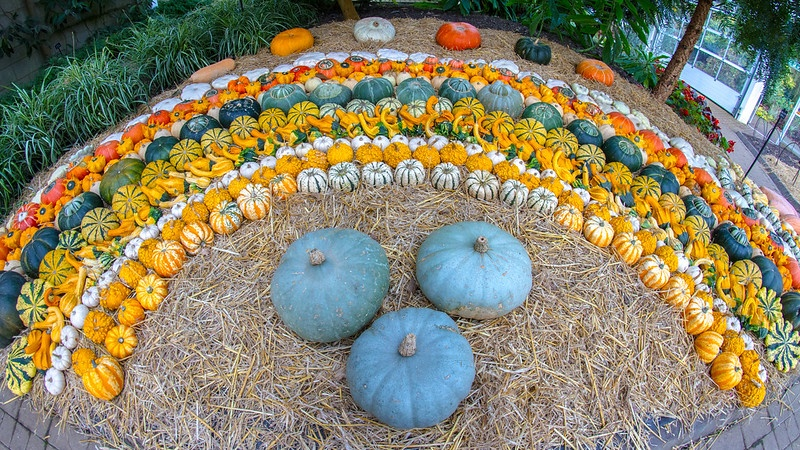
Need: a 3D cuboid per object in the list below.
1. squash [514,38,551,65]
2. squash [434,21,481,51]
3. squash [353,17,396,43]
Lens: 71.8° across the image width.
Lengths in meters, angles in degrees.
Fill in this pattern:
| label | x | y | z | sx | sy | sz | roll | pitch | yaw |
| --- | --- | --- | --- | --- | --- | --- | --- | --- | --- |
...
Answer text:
| label | x | y | z | sx | sy | sz | roll | pitch | yaw |
| --- | --- | --- | --- | --- | --- | --- | --- | --- | --- |
| squash | 2.663 | -3.420 | 10.888 | 0.631 | 0.343 | 0.586 | 13 | 53 | 4 |
| squash | 1.144 | -3.687 | 10.866 | 0.678 | 0.346 | 0.718 | 23 | 37 | 31 |
| squash | -0.509 | -3.811 | 10.915 | 0.657 | 0.245 | 0.615 | 12 | 51 | 4 |
